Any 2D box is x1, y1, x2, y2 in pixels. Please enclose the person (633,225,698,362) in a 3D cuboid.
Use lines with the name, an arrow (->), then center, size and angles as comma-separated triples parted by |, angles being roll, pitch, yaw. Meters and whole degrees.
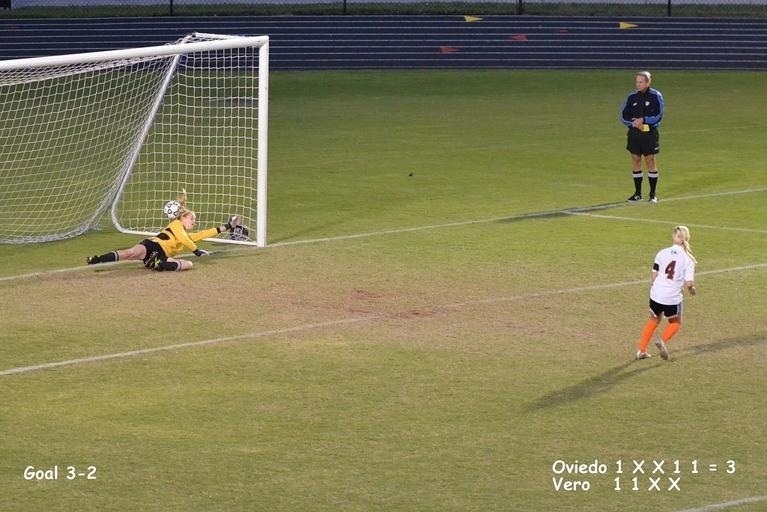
person -> 3.143, 0.375, 13.012 | 0.687, 1.436, 1.039 | -4, 7, 12

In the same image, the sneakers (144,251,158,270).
sneakers -> -3.131, 0.059, 15.716 | 0.216, 0.218, 0.070 | -1, 9, 27

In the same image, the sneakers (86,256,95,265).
sneakers -> -3.913, 0.058, 15.616 | 0.118, 0.111, 0.196 | -7, 7, -20

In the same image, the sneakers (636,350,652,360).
sneakers -> 2.860, 1.068, 12.741 | 0.225, 0.057, 0.109 | -8, -31, -18

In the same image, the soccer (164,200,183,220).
soccer -> -2.935, -0.636, 16.250 | 0.356, 0.229, 0.350 | -8, 21, -5

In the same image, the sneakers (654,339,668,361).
sneakers -> 3.015, 1.026, 12.705 | 0.126, 0.229, 0.152 | -20, -14, 37
